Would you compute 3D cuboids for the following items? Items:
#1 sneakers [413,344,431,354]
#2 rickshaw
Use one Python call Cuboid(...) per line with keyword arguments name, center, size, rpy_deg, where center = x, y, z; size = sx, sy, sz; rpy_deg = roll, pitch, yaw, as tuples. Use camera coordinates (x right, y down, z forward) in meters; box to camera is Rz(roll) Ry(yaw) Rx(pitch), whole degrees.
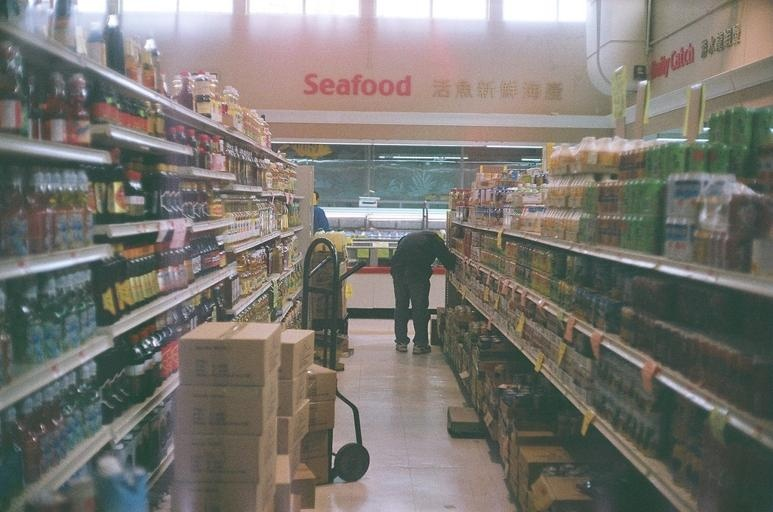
Cuboid(name="sneakers", center=(0.454, 1.194, 7.262), size=(0.213, 0.127, 0.137), rpy_deg=(0, 9, -3))
Cuboid(name="rickshaw", center=(-0.481, 0.982, 5.297), size=(0.541, 3.138, 1.181), rpy_deg=(-5, 15, -11))
